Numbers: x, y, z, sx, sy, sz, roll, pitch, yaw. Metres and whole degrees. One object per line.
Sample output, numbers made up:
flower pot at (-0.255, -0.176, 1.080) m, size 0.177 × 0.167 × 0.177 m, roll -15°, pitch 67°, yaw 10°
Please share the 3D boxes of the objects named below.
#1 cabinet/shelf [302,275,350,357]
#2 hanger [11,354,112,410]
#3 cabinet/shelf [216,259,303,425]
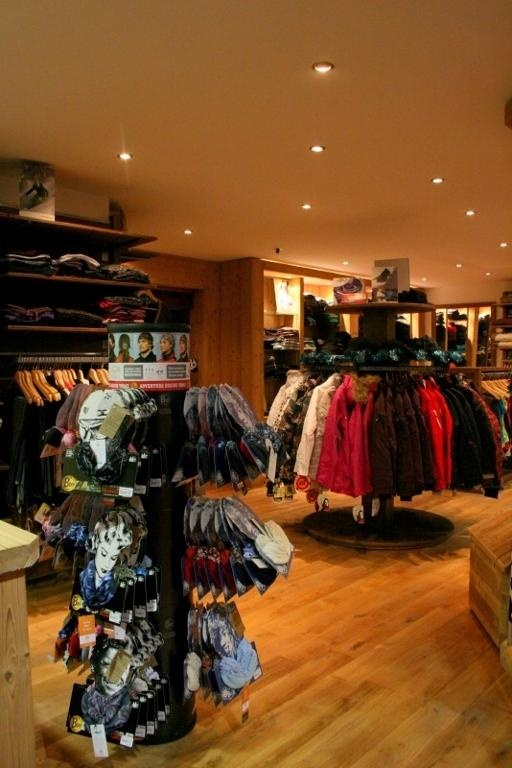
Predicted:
cabinet/shelf at (0.941, -0.972, 7.371) m, size 0.575 × 1.309 × 2.366 m, roll -1°, pitch -3°, yaw 6°
hanger at (-1.392, -0.028, 3.709) m, size 0.588 × 0.368 × 0.894 m, roll -1°, pitch -2°, yaw 11°
cabinet/shelf at (-0.112, -0.588, 6.786) m, size 0.950 × 1.956 × 0.740 m, roll 0°, pitch -3°, yaw -13°
